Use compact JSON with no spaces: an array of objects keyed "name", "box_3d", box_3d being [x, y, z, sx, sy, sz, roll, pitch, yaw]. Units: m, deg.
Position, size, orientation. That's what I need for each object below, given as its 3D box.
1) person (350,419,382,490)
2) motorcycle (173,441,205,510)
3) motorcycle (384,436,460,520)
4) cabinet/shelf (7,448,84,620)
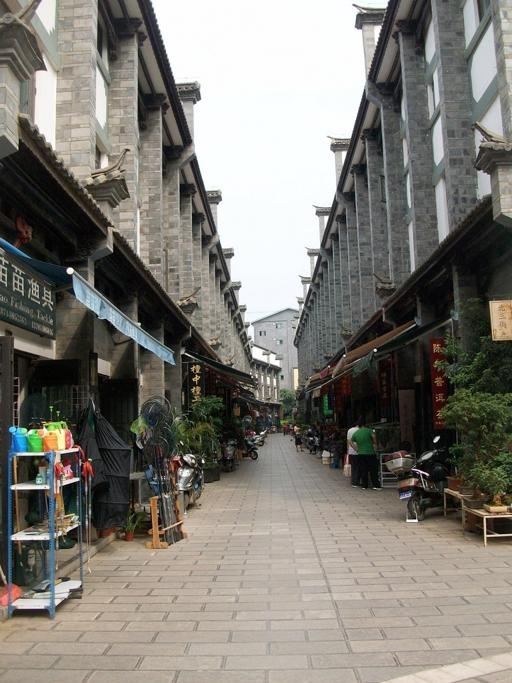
[{"name":"person","box_3d":[2.325,2.492,12.668,0.551,1.294,0.981,-3,-9,11]},{"name":"motorcycle","box_3d":[-1.114,2.255,10.138,0.508,0.913,1.378,0,2,8]},{"name":"motorcycle","box_3d":[2.475,2.064,8.849,0.652,1.108,1.623,-26,-28,36]},{"name":"cabinet/shelf","box_3d":[-1.627,1.510,4.639,0.351,1.227,1.292,0,-6,0]}]
